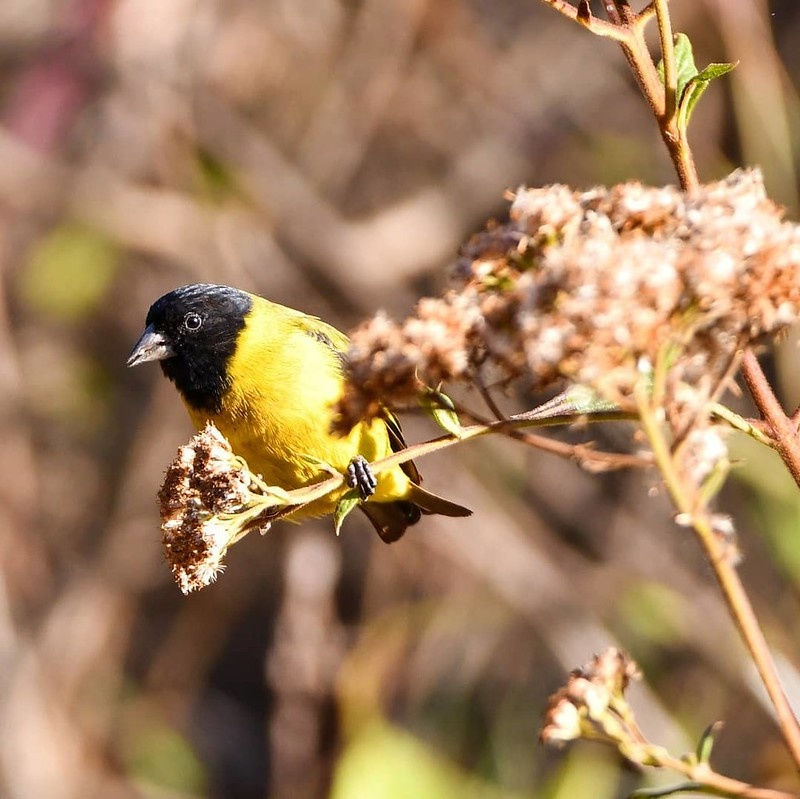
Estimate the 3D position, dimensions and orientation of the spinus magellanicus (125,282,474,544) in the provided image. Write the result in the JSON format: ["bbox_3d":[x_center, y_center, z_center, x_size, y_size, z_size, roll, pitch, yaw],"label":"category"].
[{"bbox_3d":[-0.218,0.067,2.258,0.401,0.466,0.814,-24,-26,33],"label":"spinus magellanicus"}]
